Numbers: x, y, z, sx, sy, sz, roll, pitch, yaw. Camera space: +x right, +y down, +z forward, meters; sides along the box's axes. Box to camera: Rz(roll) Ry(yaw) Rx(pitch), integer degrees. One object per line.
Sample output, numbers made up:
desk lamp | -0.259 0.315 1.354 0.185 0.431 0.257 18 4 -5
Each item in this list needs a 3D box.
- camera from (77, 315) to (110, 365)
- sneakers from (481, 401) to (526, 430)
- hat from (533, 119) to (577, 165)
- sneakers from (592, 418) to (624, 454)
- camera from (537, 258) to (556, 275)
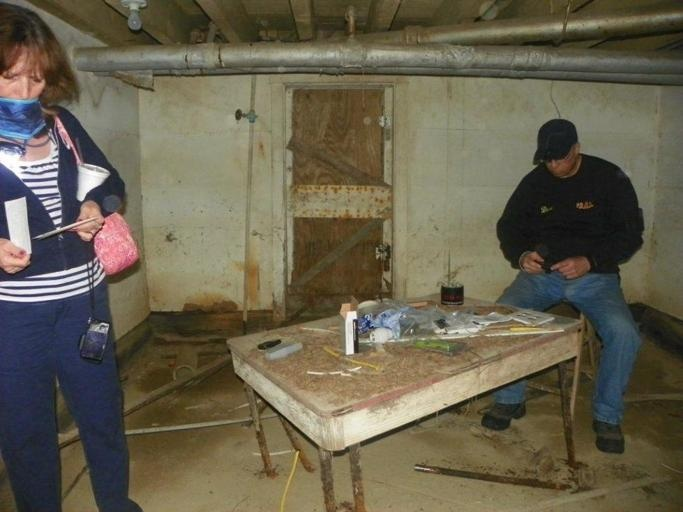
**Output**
camera | -1.530 0.518 3.913 0.219 0.247 0.088 15 -4 -13
sneakers | 1.378 1.295 5.159 0.417 0.159 0.185 2 3 -29
hat | 1.743 -0.954 5.220 0.412 0.216 0.288 -41 28 -26
sneakers | 2.044 1.385 4.833 0.189 0.170 0.281 0 -11 1
camera | 1.741 0.089 5.350 0.139 0.028 0.115 -14 23 -16
